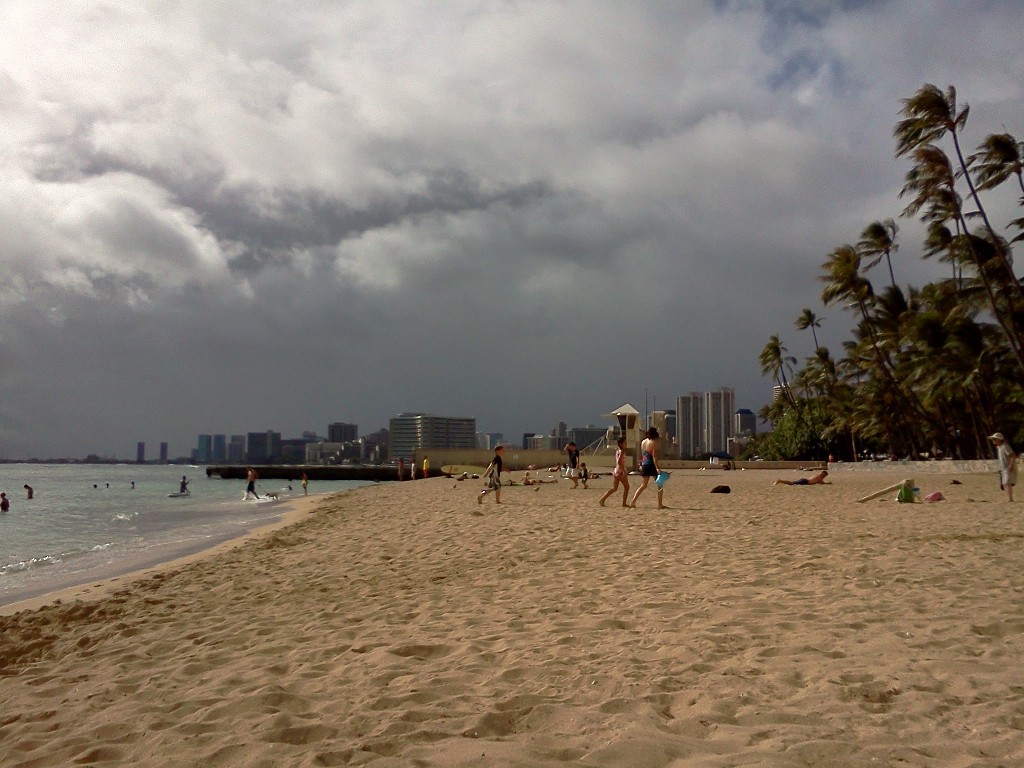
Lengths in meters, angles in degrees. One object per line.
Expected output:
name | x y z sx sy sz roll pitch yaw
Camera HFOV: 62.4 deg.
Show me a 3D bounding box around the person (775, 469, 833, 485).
person | 9.699 3.067 27.868 1.231 0.533 3.489 -2 0 28
